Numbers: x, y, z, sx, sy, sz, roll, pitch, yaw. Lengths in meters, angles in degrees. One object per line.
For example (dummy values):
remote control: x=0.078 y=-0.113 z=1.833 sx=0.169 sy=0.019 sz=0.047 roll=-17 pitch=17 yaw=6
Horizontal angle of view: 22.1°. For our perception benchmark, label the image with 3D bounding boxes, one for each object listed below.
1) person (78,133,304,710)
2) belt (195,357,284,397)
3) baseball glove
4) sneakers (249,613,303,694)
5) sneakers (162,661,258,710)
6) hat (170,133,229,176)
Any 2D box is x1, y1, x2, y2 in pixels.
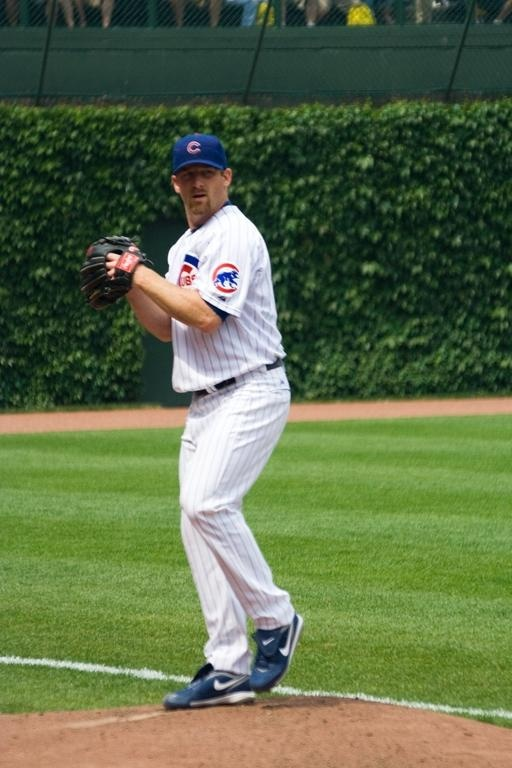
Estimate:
person: x=-0.176 y=0.178 z=5.183 sx=0.623 sy=2.170 sz=1.151 roll=-7 pitch=26 yaw=-38
belt: x=-0.112 y=-0.004 z=5.128 sx=0.211 sy=0.058 sz=0.171 roll=-23 pitch=6 yaw=42
baseball glove: x=-0.537 y=-0.452 z=5.159 sx=0.218 sy=0.121 sz=0.269 roll=-14 pitch=9 yaw=9
sneakers: x=0.075 y=1.047 z=5.121 sx=0.117 sy=0.371 sz=0.160 roll=14 pitch=-7 yaw=46
sneakers: x=-0.169 y=1.190 z=5.183 sx=0.398 sy=0.190 sz=0.147 roll=2 pitch=-8 yaw=-13
hat: x=-0.216 y=-0.908 z=5.174 sx=0.216 sy=0.179 sz=0.231 roll=7 pitch=20 yaw=-10
